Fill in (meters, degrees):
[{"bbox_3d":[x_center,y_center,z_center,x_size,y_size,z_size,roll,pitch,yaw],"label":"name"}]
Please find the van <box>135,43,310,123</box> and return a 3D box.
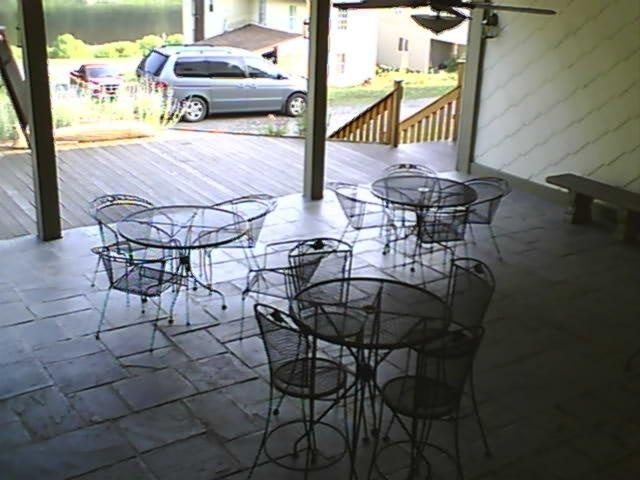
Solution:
[{"bbox_3d":[-2.198,-3.593,11.677,3.834,1.119,1.437,-5,31,-17],"label":"van"}]
